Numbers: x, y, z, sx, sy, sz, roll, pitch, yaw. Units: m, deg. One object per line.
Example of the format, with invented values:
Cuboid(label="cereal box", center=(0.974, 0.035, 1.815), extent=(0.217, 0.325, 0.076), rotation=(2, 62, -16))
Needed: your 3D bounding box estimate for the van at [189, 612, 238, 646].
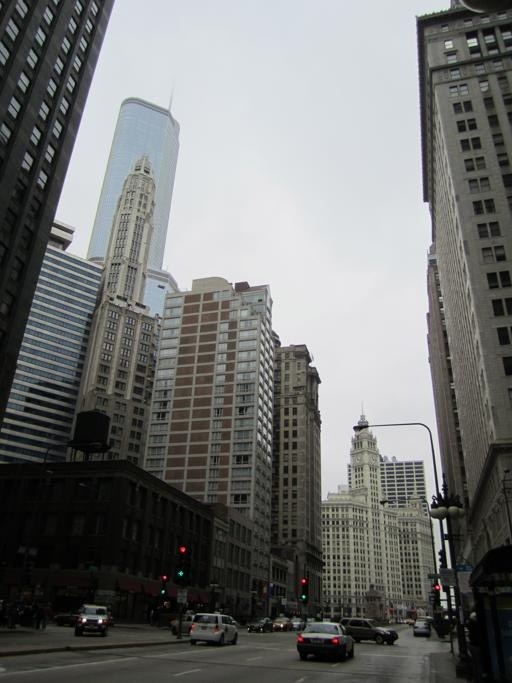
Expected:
Cuboid(label="van", center=(-1.980, 13.725, 25.994), extent=(1.608, 1.191, 2.739), rotation=(-6, -24, 13))

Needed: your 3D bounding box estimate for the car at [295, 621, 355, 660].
Cuboid(label="car", center=(2.430, 10.529, 18.962), extent=(1.202, 0.975, 2.925), rotation=(-4, -26, 14))

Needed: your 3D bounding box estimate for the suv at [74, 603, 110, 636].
Cuboid(label="suv", center=(-8.175, 14.027, 27.129), extent=(1.289, 1.378, 2.576), rotation=(1, -38, -8))

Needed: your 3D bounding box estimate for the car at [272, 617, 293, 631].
Cuboid(label="car", center=(2.771, 31.208, 60.142), extent=(2.048, 1.606, 3.477), rotation=(-4, -32, 8))
